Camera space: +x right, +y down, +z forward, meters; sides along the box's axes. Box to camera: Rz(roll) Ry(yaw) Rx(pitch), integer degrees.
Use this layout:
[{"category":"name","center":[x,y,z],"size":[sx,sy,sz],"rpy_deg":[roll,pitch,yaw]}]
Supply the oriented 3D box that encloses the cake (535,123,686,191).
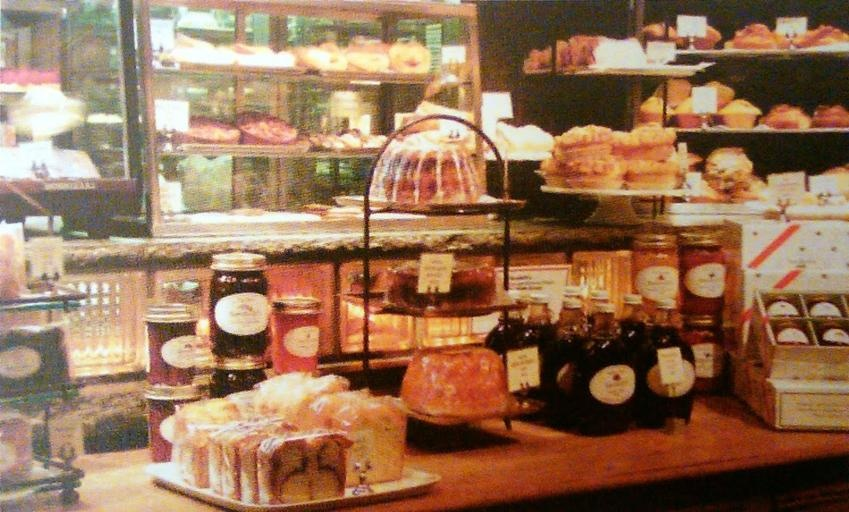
[{"category":"cake","center":[1.088,-0.584,4.319],"size":[0.643,0.174,0.611],"rpy_deg":[0,1,5]}]

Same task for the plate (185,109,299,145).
[{"category":"plate","center":[-1.046,-0.732,4.218],"size":[0.459,0.071,0.246],"rpy_deg":[-1,27,-30]}]

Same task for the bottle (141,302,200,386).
[{"category":"bottle","center":[-0.974,0.356,3.048],"size":[0.348,0.365,0.341],"rpy_deg":[1,0,-13]}]

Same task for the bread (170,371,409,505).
[{"category":"bread","center":[-0.479,0.623,2.709],"size":[0.605,0.217,0.578],"rpy_deg":[1,-1,-39]}]
